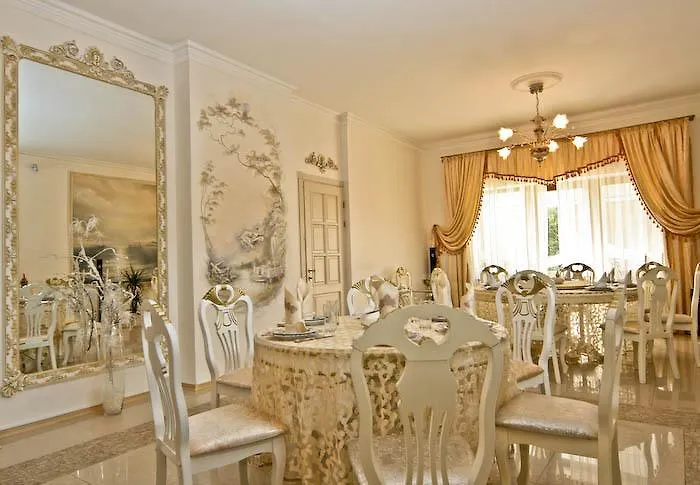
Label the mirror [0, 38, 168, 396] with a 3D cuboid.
[{"bbox_3d":[-2.572,-0.290,4.988,1.569,3.351,0.077,0,-3,-45],"label":"mirror"}]

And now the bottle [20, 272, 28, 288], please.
[{"bbox_3d":[-2.969,0.352,4.556,0.063,0.118,0.014,0,-3,-43],"label":"bottle"}]

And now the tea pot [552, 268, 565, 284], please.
[{"bbox_3d":[2.860,0.478,6.871,0.149,0.215,0.154,-4,-1,0],"label":"tea pot"}]

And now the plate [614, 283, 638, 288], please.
[{"bbox_3d":[3.019,0.484,5.482,0.201,0.045,0.207,-1,-2,-5],"label":"plate"}]

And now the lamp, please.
[{"bbox_3d":[2.588,-1.664,6.877,1.153,1.089,1.168,2,13,36],"label":"lamp"}]
